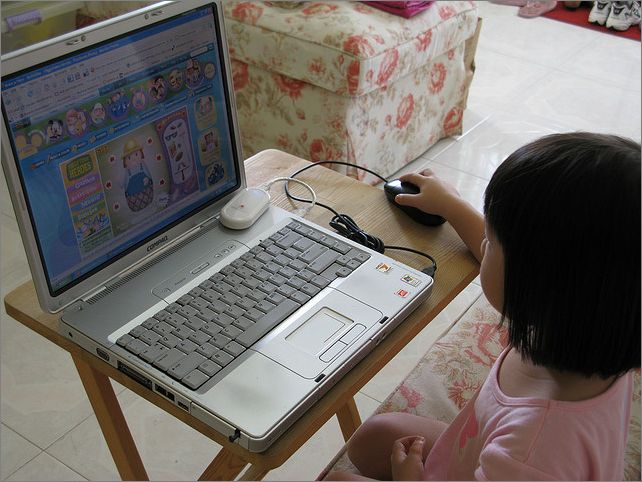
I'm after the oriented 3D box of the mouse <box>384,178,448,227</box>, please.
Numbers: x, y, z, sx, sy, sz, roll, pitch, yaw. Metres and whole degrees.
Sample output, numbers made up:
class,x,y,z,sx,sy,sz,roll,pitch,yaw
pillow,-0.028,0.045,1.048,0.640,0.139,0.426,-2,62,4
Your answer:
class,x,y,z,sx,sy,sz,roll,pitch,yaw
mouse,0.170,-0.075,0.973,0.118,0.035,0.065,37,43,17
